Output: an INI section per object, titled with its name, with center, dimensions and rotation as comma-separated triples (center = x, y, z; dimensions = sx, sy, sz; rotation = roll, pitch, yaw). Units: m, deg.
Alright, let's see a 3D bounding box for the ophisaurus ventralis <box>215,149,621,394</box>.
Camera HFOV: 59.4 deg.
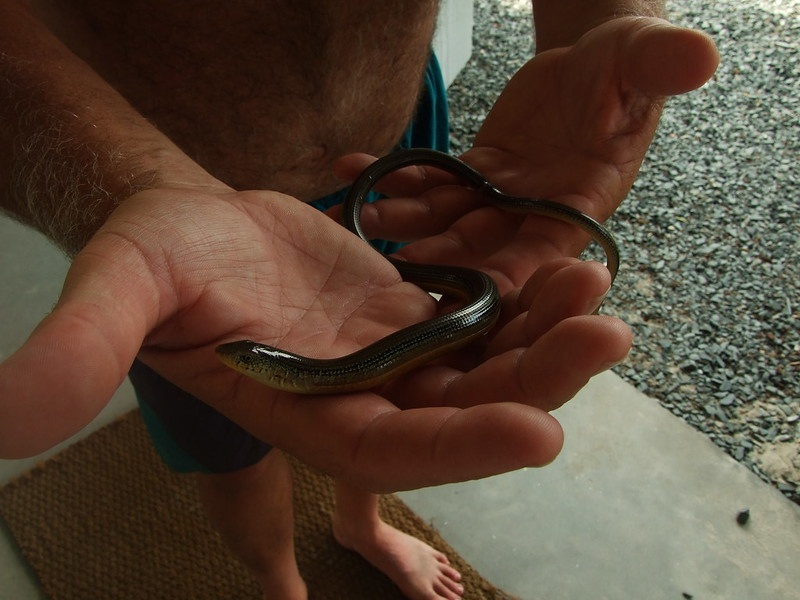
[ophisaurus ventralis]
center = 0.057, -0.118, 2.901
dimensions = 1.212, 0.692, 1.057
rotation = -16, 26, -40
